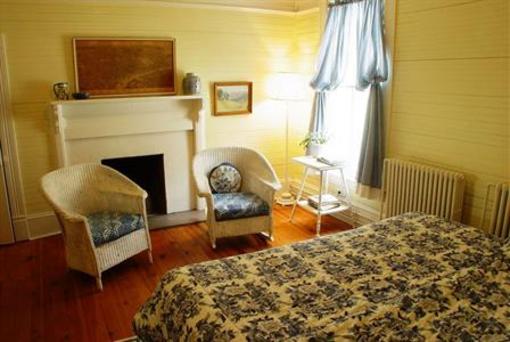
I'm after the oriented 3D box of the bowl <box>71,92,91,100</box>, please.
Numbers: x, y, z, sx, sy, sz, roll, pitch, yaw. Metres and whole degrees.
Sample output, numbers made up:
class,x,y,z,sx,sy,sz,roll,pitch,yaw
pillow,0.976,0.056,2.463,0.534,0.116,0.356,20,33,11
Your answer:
class,x,y,z,sx,sy,sz,roll,pitch,yaw
bowl,-2.243,-0.947,4.391,0.144,0.055,0.132,-1,3,0

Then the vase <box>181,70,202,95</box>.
class,x,y,z,sx,sy,sz,roll,pitch,yaw
vase,-0.897,-1.246,4.838,0.331,0.311,0.312,-2,8,-11

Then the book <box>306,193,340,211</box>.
class,x,y,z,sx,sy,sz,roll,pitch,yaw
book,0.995,0.434,4.826,0.299,0.061,0.278,-8,17,-26

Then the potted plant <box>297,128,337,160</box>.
class,x,y,z,sx,sy,sz,roll,pitch,yaw
potted plant,0.902,-0.400,5.006,0.498,0.293,0.476,-4,7,-28

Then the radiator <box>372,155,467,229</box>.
class,x,y,z,sx,sy,sz,roll,pitch,yaw
radiator,1.917,0.228,3.897,0.145,0.745,0.804,-9,18,-41

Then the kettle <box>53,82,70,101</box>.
class,x,y,z,sx,sy,sz,roll,pitch,yaw
kettle,-2.421,-1.026,4.421,0.295,0.252,0.164,-1,15,-21

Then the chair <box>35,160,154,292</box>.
class,x,y,z,sx,sy,sz,roll,pitch,yaw
chair,-1.802,0.575,3.928,0.854,1.214,0.856,13,22,35

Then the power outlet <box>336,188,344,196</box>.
class,x,y,z,sx,sy,sz,roll,pitch,yaw
power outlet,1.240,0.317,5.037,0.143,0.094,0.141,3,4,-26

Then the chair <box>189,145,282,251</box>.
class,x,y,z,sx,sy,sz,roll,pitch,yaw
chair,-0.243,0.271,4.951,1.382,1.216,1.370,-5,14,-18

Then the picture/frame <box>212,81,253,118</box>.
class,x,y,z,sx,sy,sz,roll,pitch,yaw
picture/frame,-0.382,-1.136,5.331,0.685,0.438,0.050,-5,17,-24
